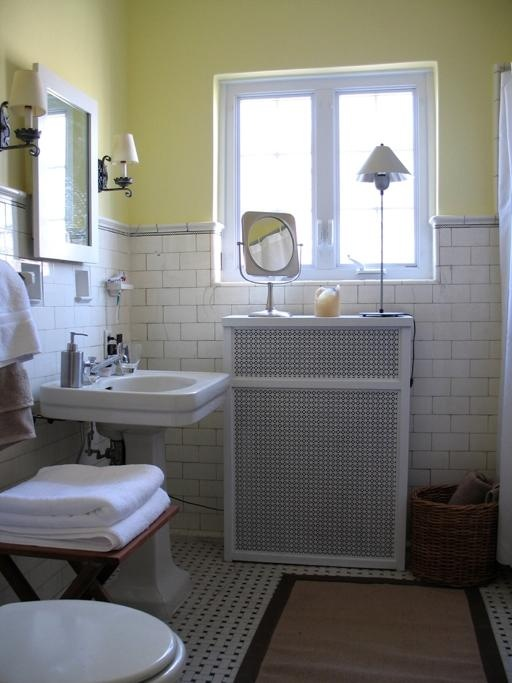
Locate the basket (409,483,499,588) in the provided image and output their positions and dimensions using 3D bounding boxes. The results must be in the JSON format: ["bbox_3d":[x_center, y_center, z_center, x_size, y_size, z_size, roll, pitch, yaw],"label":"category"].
[{"bbox_3d":[0.790,0.761,2.414,0.318,0.310,0.308,0,0,43],"label":"basket"}]

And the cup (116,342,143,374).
[{"bbox_3d":[-0.519,0.071,2.392,0.114,0.135,0.109,1,0,0],"label":"cup"}]

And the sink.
[{"bbox_3d":[-0.410,0.226,2.159,0.577,0.181,0.584,0,3,16],"label":"sink"}]

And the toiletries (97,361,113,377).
[{"bbox_3d":[-0.578,0.104,2.262,0.048,0.083,0.077,0,-5,3],"label":"toiletries"}]

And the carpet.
[{"bbox_3d":[0.403,0.958,1.976,0.808,0.020,0.755,0,2,11],"label":"carpet"}]

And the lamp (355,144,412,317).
[{"bbox_3d":[0.563,-0.476,2.633,0.224,0.736,0.502,0,3,15],"label":"lamp"}]

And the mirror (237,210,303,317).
[{"bbox_3d":[0.063,-0.337,2.568,0.271,0.459,0.169,-1,2,-2],"label":"mirror"}]
